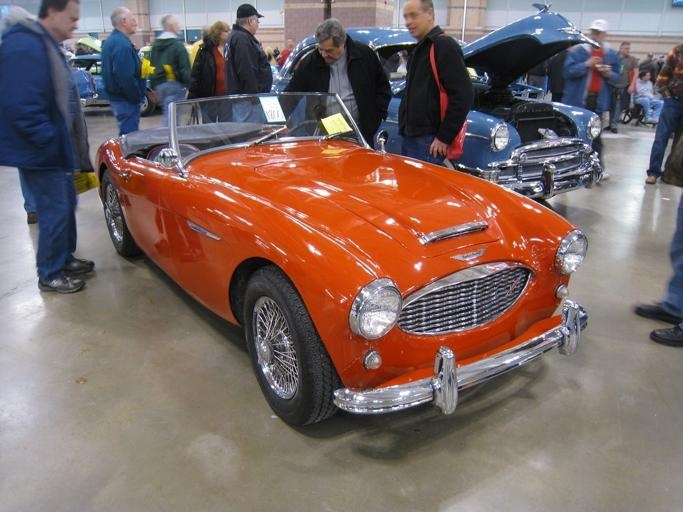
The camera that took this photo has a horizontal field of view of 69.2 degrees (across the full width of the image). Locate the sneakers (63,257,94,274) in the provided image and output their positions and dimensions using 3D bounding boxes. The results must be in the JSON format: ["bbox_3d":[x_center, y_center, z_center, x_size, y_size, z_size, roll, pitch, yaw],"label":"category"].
[{"bbox_3d":[-2.310,0.085,4.366,0.265,0.132,0.097,-13,28,-39],"label":"sneakers"}]

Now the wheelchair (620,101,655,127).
[{"bbox_3d":[7.704,-3.670,12.842,0.500,0.595,0.626,-5,16,-14],"label":"wheelchair"}]

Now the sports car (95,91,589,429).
[{"bbox_3d":[-0.354,-0.322,3.448,1.777,1.253,3.317,-12,30,-30],"label":"sports car"}]

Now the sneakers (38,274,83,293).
[{"bbox_3d":[-2.288,0.226,4.115,0.344,0.165,0.156,0,13,0],"label":"sneakers"}]

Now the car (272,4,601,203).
[{"bbox_3d":[0.920,-1.804,6.319,4.348,2.166,2.160,20,34,36],"label":"car"}]

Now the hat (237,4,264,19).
[{"bbox_3d":[-1.066,-2.806,5.760,0.277,0.151,0.197,-23,47,-22],"label":"hat"}]

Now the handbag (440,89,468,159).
[{"bbox_3d":[0.902,-1.089,4.025,0.155,0.338,0.422,-14,-19,12],"label":"handbag"}]

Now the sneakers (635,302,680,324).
[{"bbox_3d":[2.338,0.429,3.682,0.278,0.120,0.106,23,28,39],"label":"sneakers"}]
